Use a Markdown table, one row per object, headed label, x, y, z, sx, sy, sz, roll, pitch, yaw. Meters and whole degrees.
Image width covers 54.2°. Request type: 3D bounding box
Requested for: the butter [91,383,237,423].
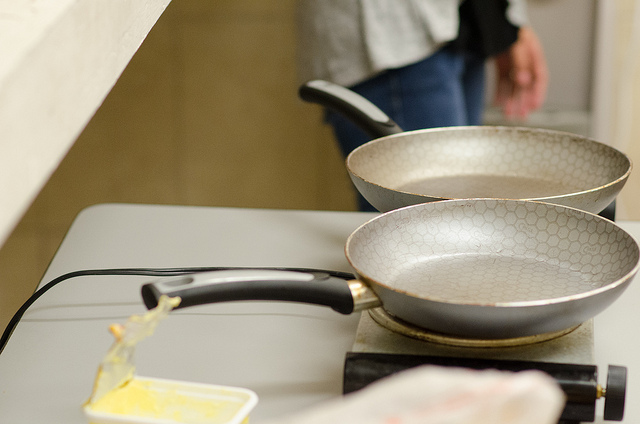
| label | x | y | z | sx | sy | sz | roll | pitch | yaw |
| --- | --- | --- | --- | --- | --- | --- | --- | --- | --- |
| butter | -0.098 | 0.125 | 0.401 | 0.085 | 0.025 | 0.029 | -2 | 30 | 12 |
